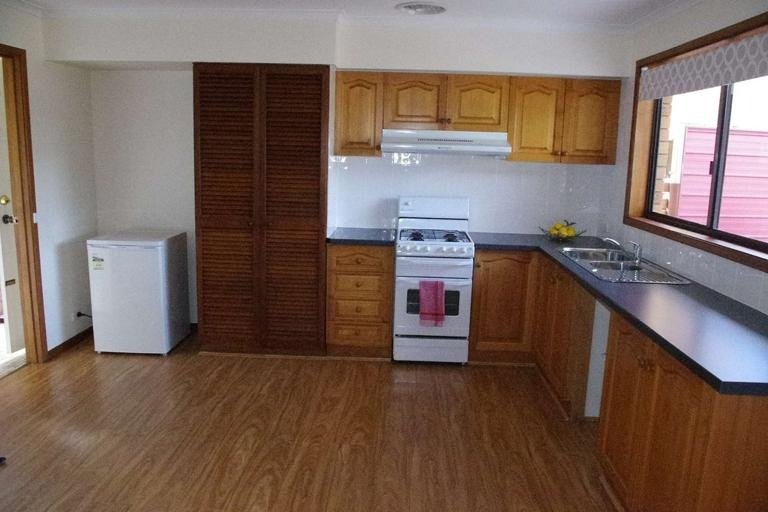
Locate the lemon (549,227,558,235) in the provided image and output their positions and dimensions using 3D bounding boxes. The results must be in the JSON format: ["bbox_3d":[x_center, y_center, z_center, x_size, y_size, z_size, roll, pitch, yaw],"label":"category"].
[{"bbox_3d":[1.553,-0.222,5.270,0.023,0.058,0.074,-11,16,-29],"label":"lemon"}]

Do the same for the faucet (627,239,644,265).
[{"bbox_3d":[2.021,-0.043,4.617,0.079,0.175,0.439,4,15,23],"label":"faucet"}]

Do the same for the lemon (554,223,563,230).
[{"bbox_3d":[1.607,-0.273,5.275,0.087,0.041,0.076,-6,14,-12],"label":"lemon"}]

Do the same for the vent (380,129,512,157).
[{"bbox_3d":[0.527,-0.974,5.025,1.103,0.284,0.234,-2,14,1],"label":"vent"}]

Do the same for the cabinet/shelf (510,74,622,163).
[{"bbox_3d":[1.704,-1.221,5.242,1.062,0.742,0.380,14,24,39],"label":"cabinet/shelf"}]

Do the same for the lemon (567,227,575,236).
[{"bbox_3d":[1.720,-0.220,5.272,0.038,0.078,0.112,6,16,30],"label":"lemon"}]

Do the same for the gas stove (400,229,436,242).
[{"bbox_3d":[0.302,-0.192,5.152,0.327,0.037,0.460,-2,13,3],"label":"gas stove"}]

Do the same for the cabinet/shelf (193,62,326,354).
[{"bbox_3d":[-0.977,-0.352,5.463,1.358,2.619,0.896,3,9,14],"label":"cabinet/shelf"}]

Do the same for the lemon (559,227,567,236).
[{"bbox_3d":[1.631,-0.219,5.235,0.052,0.064,0.051,-22,16,-24],"label":"lemon"}]

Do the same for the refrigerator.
[{"bbox_3d":[-2.230,0.315,5.304,0.727,1.066,0.594,-2,14,4],"label":"refrigerator"}]

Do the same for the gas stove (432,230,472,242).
[{"bbox_3d":[0.598,-0.182,5.179,0.331,0.037,0.484,-1,14,4],"label":"gas stove"}]
